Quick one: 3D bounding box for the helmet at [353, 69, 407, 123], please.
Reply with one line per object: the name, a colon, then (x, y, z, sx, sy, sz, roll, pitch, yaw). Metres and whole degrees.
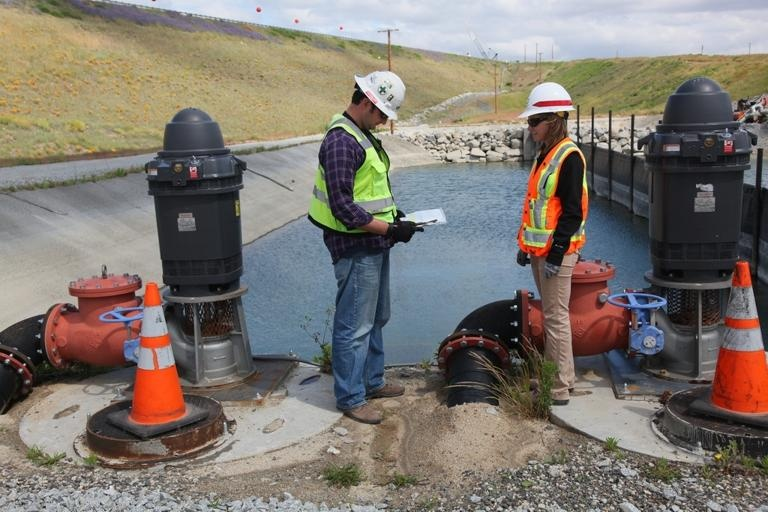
helmet: (-0.059, -1.477, 5.877, 0.509, 0.260, 0.409, 37, 30, -3)

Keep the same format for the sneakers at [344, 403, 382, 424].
sneakers: (-0.206, 1.470, 5.972, 0.347, 0.125, 0.150, 2, 0, 24)

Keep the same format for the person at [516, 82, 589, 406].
person: (1.588, -0.122, 5.857, 0.552, 2.872, 0.961, -3, 14, -3)

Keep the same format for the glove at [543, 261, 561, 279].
glove: (1.483, 0.127, 5.770, 0.145, 0.120, 0.128, 22, 0, -6)

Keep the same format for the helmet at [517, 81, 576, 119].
helmet: (1.470, -1.426, 5.847, 0.455, 0.318, 0.542, 1, 13, 11)

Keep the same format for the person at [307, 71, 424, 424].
person: (-0.197, -0.082, 5.926, 0.785, 3.157, 0.840, 11, 19, 41)

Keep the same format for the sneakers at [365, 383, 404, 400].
sneakers: (0.005, 1.339, 6.429, 0.412, 0.155, 0.144, -4, 6, -5)

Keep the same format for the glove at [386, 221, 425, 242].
glove: (0.169, -0.198, 5.832, 0.280, 0.100, 0.198, -8, 22, -24)

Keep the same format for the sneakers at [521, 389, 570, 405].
sneakers: (1.500, 1.316, 5.858, 0.322, 0.083, 0.197, 2, 5, -14)
